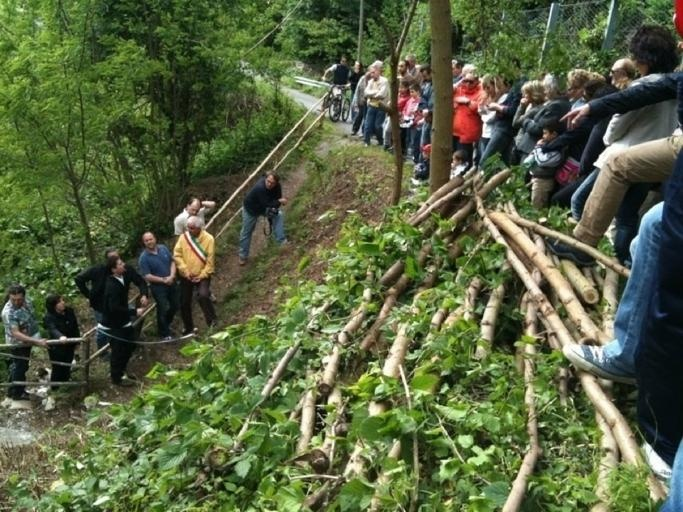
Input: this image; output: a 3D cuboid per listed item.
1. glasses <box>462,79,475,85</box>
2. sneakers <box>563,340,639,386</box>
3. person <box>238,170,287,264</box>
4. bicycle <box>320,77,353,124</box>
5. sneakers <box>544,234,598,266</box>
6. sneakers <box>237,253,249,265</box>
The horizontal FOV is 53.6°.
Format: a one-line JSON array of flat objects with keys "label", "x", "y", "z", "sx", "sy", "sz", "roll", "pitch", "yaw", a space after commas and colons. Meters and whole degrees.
[{"label": "glasses", "x": 1.822, "y": -2.497, "z": 9.675, "sx": 0.150, "sy": 0.062, "sz": 0.184, "roll": 3, "pitch": 6, "yaw": 17}, {"label": "sneakers", "x": 1.677, "y": 0.705, "z": 4.537, "sx": 0.550, "sy": 0.211, "sz": 0.188, "roll": 21, "pitch": 3, "yaw": 7}, {"label": "person", "x": -1.512, "y": -0.665, "z": 13.006, "sx": 0.919, "sy": 2.104, "sz": 0.685, "roll": 2, "pitch": 24, "yaw": -1}, {"label": "bicycle", "x": -0.072, "y": -4.153, "z": 18.374, "sx": 0.741, "sy": 0.682, "sz": 1.203, "roll": 1, "pitch": 16, "yaw": 16}, {"label": "sneakers", "x": 1.864, "y": -0.035, "z": 5.510, "sx": 0.339, "sy": 0.092, "sz": 0.202, "roll": 21, "pitch": -8, "yaw": 31}, {"label": "sneakers", "x": -1.975, "y": 0.074, "z": 13.668, "sx": 0.160, "sy": 0.184, "sz": 0.440, "roll": -2, "pitch": -12, "yaw": -8}]
